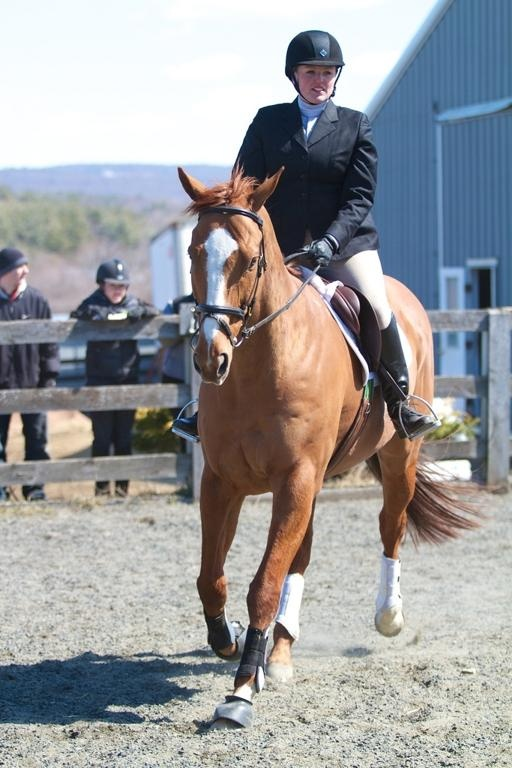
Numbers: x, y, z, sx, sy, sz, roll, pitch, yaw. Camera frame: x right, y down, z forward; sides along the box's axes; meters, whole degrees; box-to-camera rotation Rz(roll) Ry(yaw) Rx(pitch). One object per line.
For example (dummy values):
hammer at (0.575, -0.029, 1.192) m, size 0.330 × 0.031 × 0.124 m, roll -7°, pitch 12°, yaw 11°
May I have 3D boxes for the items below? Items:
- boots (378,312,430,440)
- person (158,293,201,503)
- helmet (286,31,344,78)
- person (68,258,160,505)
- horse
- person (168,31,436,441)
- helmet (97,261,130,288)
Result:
boots at (0.713, -0.052, 6.207) m, size 0.271 × 0.617 × 0.174 m, roll -11°, pitch 6°, yaw 23°
person at (-0.588, 0.091, 9.800) m, size 0.370 × 1.418 × 1.049 m, roll 0°, pitch 4°, yaw -5°
helmet at (0.276, -1.563, 5.851) m, size 0.265 × 0.220 × 0.335 m, roll 2°, pitch 8°, yaw 1°
person at (-1.059, -0.034, 8.830) m, size 0.336 × 1.694 × 0.786 m, roll 6°, pitch 9°, yaw 26°
horse at (0.253, 0.216, 5.932) m, size 0.787 × 2.390 × 2.197 m, roll 5°, pitch 9°, yaw 20°
person at (0.266, -0.736, 6.085) m, size 1.339 × 2.030 × 1.124 m, roll 2°, pitch 10°, yaw 8°
helmet at (-0.995, -0.777, 8.641) m, size 0.165 × 0.134 × 0.222 m, roll 1°, pitch 3°, yaw -22°
